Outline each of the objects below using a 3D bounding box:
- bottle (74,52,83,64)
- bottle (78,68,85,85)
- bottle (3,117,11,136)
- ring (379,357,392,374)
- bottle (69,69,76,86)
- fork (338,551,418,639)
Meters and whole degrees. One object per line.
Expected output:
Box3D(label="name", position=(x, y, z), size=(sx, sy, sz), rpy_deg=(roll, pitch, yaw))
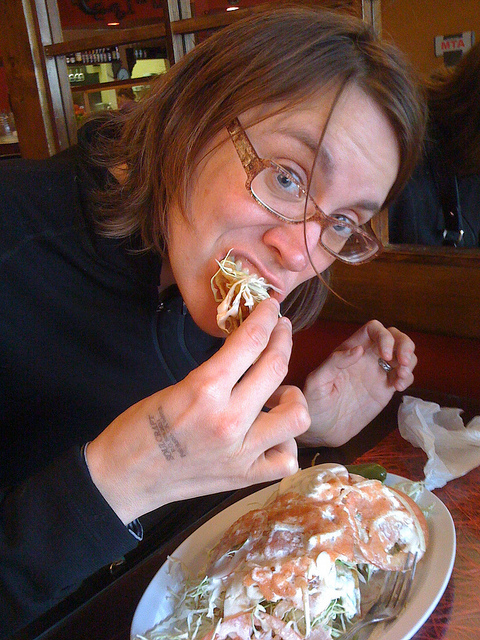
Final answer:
Box3D(label="bottle", position=(-0.634, -1.020, 1.962), size=(0.022, 0.038, 0.021), rpy_deg=(0, 41, 0))
Box3D(label="bottle", position=(-0.683, -1.034, 2.153), size=(0.011, 0.048, 0.029), rpy_deg=(-2, 1, -2))
Box3D(label="bottle", position=(-2.945, -2.418, 6.311), size=(0.063, 0.195, 0.118), rpy_deg=(-11, 27, -9))
Box3D(label="ring", position=(0.377, 0.116, 1.310), size=(0.009, 0.033, 0.033), rpy_deg=(-44, 56, -8))
Box3D(label="bottle", position=(-0.694, -0.987, 2.066), size=(0.011, 0.042, 0.031), rpy_deg=(3, 21, 17))
Box3D(label="fork", position=(0.180, 0.359, 0.657), size=(0.026, 0.027, 0.189), rpy_deg=(-22, 11, 47))
